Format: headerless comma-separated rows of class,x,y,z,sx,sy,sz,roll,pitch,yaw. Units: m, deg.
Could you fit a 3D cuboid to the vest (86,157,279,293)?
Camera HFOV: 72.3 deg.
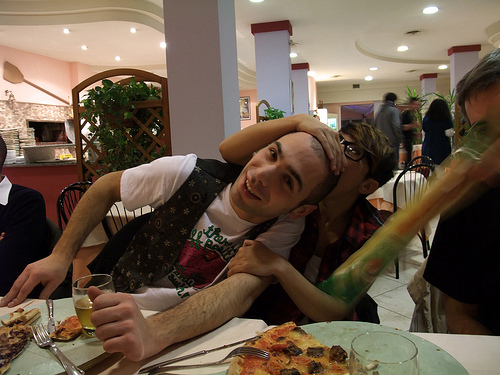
vest,-0.349,0.148,1.511,0.875,0.520,0.319,-3,10,-1

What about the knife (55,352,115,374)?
knife,-0.404,0.458,0.905,0.018,0.025,0.092,7,15,44

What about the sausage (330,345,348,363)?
sausage,0.212,0.401,0.827,0.026,0.014,0.035,-9,38,1

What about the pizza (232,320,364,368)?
pizza,0.100,0.401,0.882,0.276,0.032,0.156,-3,11,3

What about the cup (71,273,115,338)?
cup,-0.465,0.366,1.034,0.112,0.133,0.114,-18,-22,-7

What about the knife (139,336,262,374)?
knife,-0.133,0.441,0.898,0.381,0.027,0.034,-8,9,-19

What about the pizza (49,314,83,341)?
pizza,-0.544,0.418,1.031,0.071,0.024,0.106,5,9,-2

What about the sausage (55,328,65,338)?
sausage,-0.552,0.423,0.998,0.026,0.019,0.017,-9,12,-28

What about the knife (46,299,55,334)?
knife,-0.622,0.404,1.068,0.020,0.009,0.176,-11,17,-22
